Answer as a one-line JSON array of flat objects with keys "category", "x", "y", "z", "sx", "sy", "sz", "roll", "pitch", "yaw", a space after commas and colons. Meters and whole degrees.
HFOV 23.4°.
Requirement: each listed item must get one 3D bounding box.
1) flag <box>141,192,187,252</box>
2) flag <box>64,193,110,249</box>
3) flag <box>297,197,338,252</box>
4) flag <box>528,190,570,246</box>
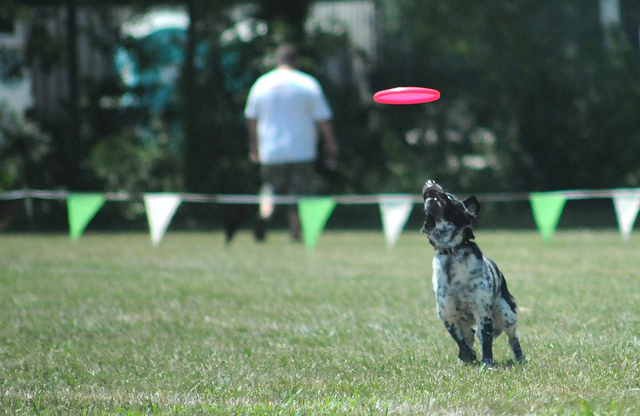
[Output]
[{"category": "flag", "x": -2.453, "y": 0.195, "z": 23.713, "sx": 0.824, "sy": 1.033, "sz": 0.069, "roll": 2, "pitch": 0, "yaw": 10}, {"category": "flag", "x": -3.401, "y": 0.089, "z": 22.246, "sx": 0.586, "sy": 0.727, "sz": 0.375, "roll": 0, "pitch": 6, "yaw": -11}, {"category": "flag", "x": -0.094, "y": 0.207, "z": 22.926, "sx": 0.580, "sy": 0.841, "sz": 0.694, "roll": 0, "pitch": 6, "yaw": -7}, {"category": "flag", "x": 3.645, "y": 0.153, "z": 24.727, "sx": 0.018, "sy": 1.015, "sz": 0.827, "roll": -2, "pitch": -1, "yaw": -26}]
